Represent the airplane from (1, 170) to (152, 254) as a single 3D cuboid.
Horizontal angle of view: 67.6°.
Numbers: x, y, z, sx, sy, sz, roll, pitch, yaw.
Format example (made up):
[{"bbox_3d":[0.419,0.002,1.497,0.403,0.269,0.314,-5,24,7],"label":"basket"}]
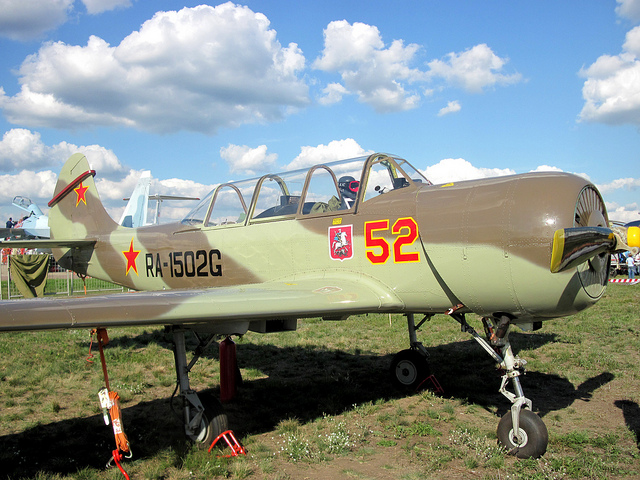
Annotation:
[{"bbox_3d":[-7.892,-0.689,16.209,4.097,1.952,5.055,5,8,26],"label":"airplane"}]
